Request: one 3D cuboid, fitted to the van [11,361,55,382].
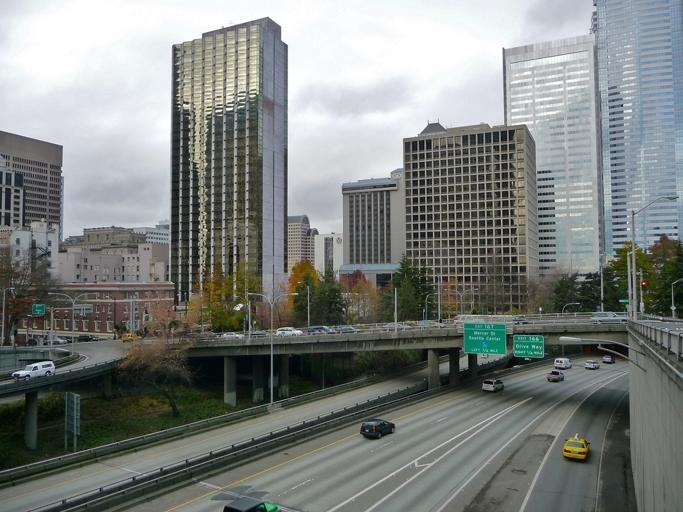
[{"bbox_3d":[-44.745,16.744,120.093,5.406,2.737,2.819,8,-11,-40],"label":"van"}]

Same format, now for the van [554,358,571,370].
[{"bbox_3d":[41.730,20.434,155.741,1.864,1.596,3.163,2,3,41],"label":"van"}]

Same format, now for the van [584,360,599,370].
[{"bbox_3d":[47.731,20.723,156.625,2.656,1.239,1.425,-6,5,-43],"label":"van"}]

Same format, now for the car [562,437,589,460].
[{"bbox_3d":[31.818,26.251,112.221,3.459,3.026,2.072,-4,-5,12],"label":"car"}]

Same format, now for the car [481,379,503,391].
[{"bbox_3d":[25.032,21.506,136.653,3.043,1.507,1.688,-4,3,-41],"label":"car"}]
